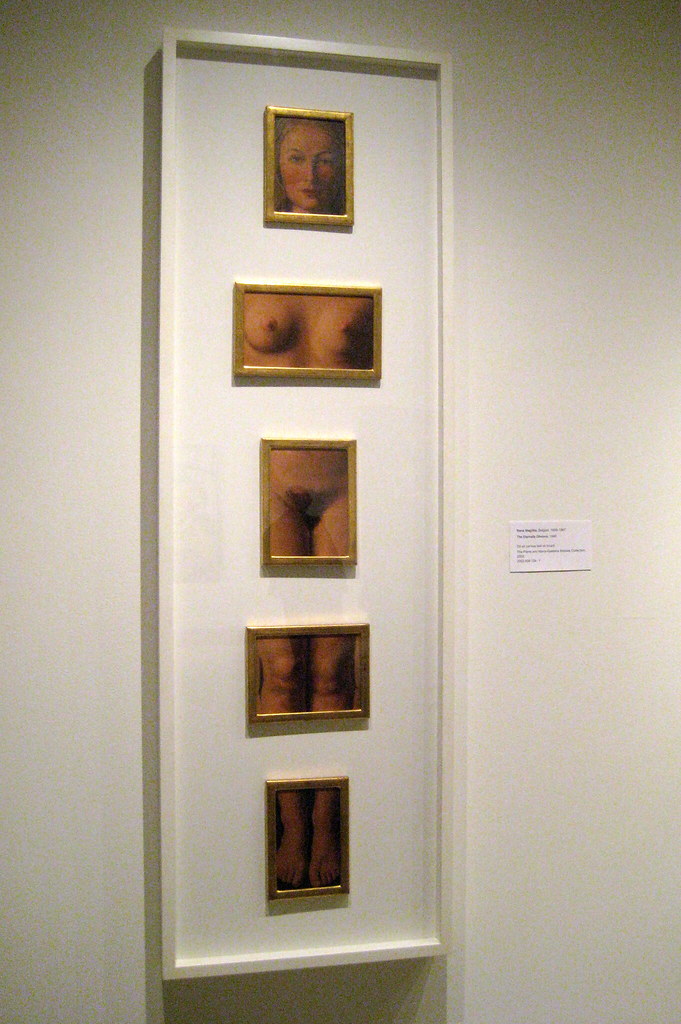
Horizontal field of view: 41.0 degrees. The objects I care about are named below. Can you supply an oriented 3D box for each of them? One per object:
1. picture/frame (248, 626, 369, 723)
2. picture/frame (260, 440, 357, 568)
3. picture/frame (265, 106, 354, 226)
[{"bbox_3d":[-0.052,0.226,1.291,0.121,0.116,0.013,0,2,-7],"label":"picture/frame"},{"bbox_3d":[-0.050,-0.012,1.285,0.157,0.226,0.016,0,0,-5],"label":"picture/frame"},{"bbox_3d":[-0.049,-0.489,1.283,0.148,0.190,0.013,1,3,-8],"label":"picture/frame"}]
